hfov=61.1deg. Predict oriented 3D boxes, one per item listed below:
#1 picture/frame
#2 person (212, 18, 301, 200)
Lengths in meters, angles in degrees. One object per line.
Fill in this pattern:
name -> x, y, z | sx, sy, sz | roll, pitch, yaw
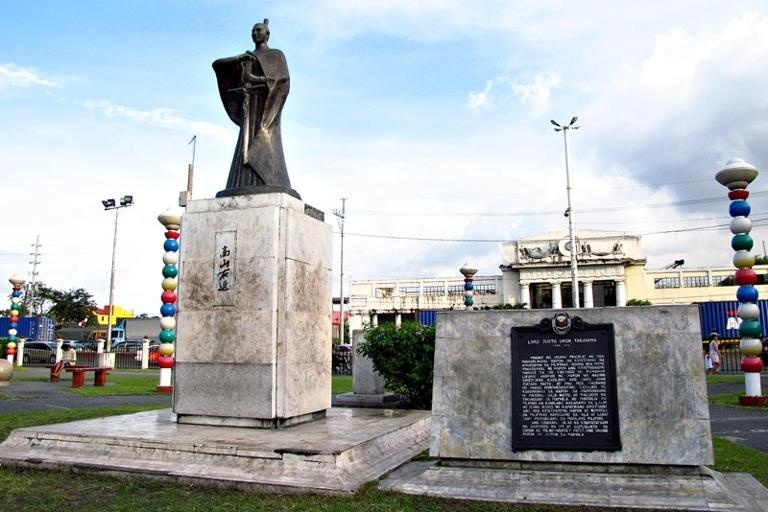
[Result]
picture/frame -> 2.474, 1.739, 8.668 | 1.742, 2.316, 0.178 | -2, -12, 11
person -> -2.277, -2.370, 11.459 | 1.356, 2.673, 0.830 | -1, -2, -3
